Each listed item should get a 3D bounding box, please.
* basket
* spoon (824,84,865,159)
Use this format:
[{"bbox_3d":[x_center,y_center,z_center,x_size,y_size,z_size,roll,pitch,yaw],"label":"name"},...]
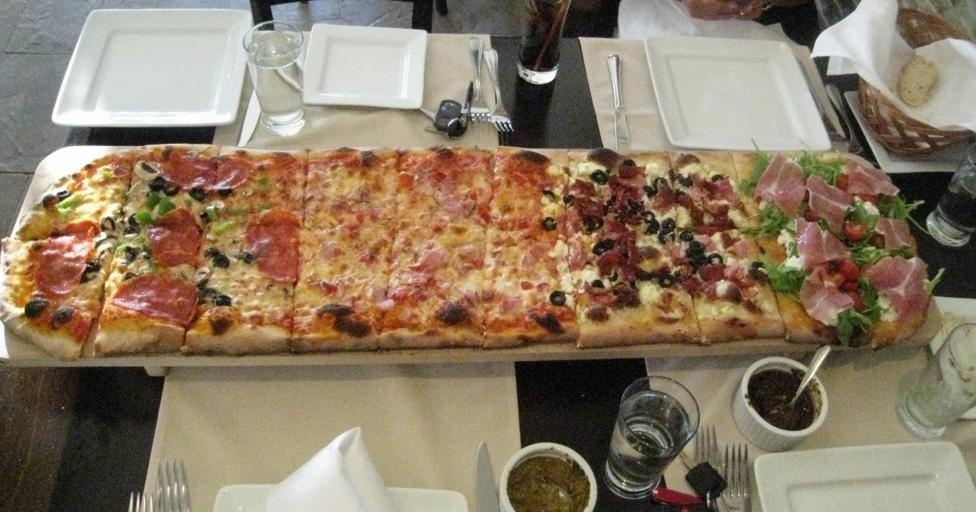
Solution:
[{"bbox_3d":[3.227,-1.331,5.585,1.050,0.400,1.122,15,80,1],"label":"basket"},{"bbox_3d":[2.781,-1.067,5.531,0.188,0.112,0.618,-23,70,6],"label":"spoon"}]
